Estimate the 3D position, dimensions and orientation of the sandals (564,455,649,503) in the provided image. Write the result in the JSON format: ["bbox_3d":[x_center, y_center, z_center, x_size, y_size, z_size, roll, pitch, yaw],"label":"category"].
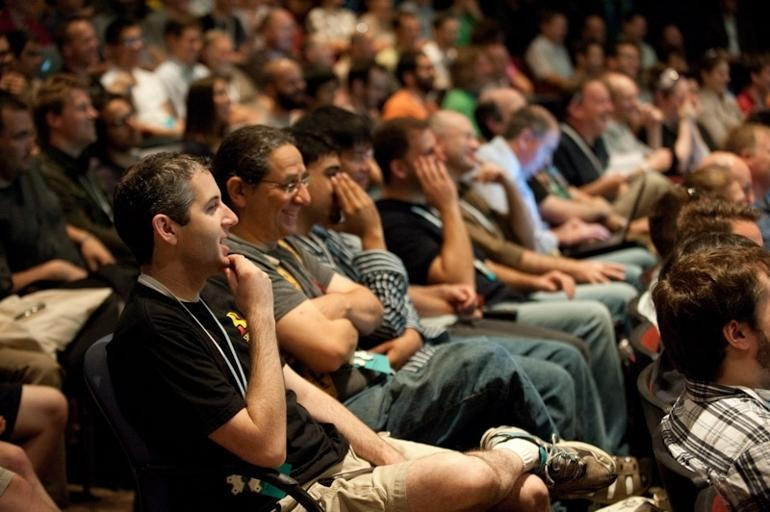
[{"bbox_3d":[1.053,1.061,3.323,0.533,0.220,0.181,0,2,-21],"label":"sandals"}]

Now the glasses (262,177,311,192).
[{"bbox_3d":[-0.437,-0.328,3.163,0.082,0.094,0.230,1,0,42],"label":"glasses"}]
